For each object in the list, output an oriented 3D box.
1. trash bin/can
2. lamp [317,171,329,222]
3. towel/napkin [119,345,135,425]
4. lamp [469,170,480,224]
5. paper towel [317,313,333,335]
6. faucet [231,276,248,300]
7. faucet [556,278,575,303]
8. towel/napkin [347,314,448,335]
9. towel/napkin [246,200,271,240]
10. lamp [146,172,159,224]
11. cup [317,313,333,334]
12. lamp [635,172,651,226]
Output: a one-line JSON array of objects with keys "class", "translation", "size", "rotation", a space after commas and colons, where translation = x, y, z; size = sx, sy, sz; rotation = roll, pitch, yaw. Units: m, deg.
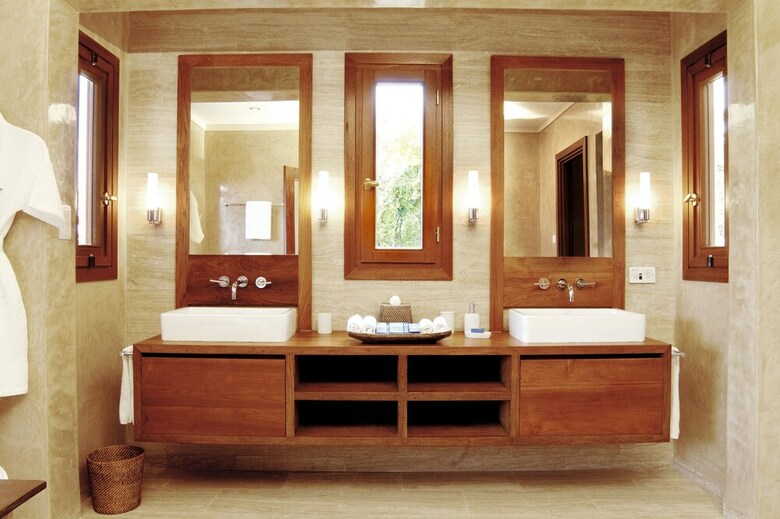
[{"class": "trash bin/can", "translation": [-1.726, 1.429, 4.251], "size": [0.405, 0.311, 0.417], "rotation": [0, -4, 5]}, {"class": "lamp", "translation": [-0.469, -0.436, 4.591], "size": [0.082, 0.364, 0.090], "rotation": [0, -1, -6]}, {"class": "towel/napkin", "translation": [-1.714, 0.805, 4.242], "size": [0.084, 0.501, 0.291], "rotation": [1, -2, -21]}, {"class": "lamp", "translation": [0.600, -0.440, 4.593], "size": [0.083, 0.383, 0.093], "rotation": [0, -1, 5]}, {"class": "paper towel", "translation": [-0.448, 0.447, 4.485], "size": [0.147, 0.134, 0.133], "rotation": [1, 4, -2]}, {"class": "faucet", "translation": [-1.081, 0.201, 4.602], "size": [0.089, 0.168, 0.126], "rotation": [-1, -2, 40]}, {"class": "faucet", "translation": [1.267, 0.223, 4.606], "size": [0.119, 0.179, 0.131], "rotation": [1, -2, -43]}, {"class": "towel/napkin", "translation": [0.066, 0.431, 4.310], "size": [0.673, 0.108, 0.243], "rotation": [0, -2, 2]}, {"class": "towel/napkin", "translation": [-0.947, -0.282, 4.581], "size": [0.225, 0.254, 0.065], "rotation": [-1, 0, 2]}, {"class": "lamp", "translation": [-1.686, -0.436, 4.631], "size": [0.108, 0.372, 0.083], "rotation": [0, -1, -11]}, {"class": "cup", "translation": [-0.449, 0.441, 4.487], "size": [0.146, 0.133, 0.133], "rotation": [1, 4, 2]}, {"class": "lamp", "translation": [1.822, -0.434, 4.638], "size": [0.132, 0.380, 0.098], "rotation": [0, -1, 3]}]
